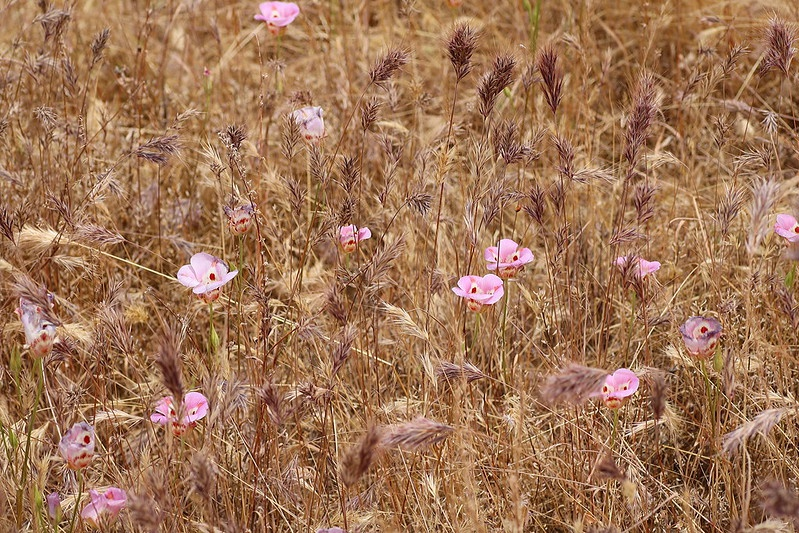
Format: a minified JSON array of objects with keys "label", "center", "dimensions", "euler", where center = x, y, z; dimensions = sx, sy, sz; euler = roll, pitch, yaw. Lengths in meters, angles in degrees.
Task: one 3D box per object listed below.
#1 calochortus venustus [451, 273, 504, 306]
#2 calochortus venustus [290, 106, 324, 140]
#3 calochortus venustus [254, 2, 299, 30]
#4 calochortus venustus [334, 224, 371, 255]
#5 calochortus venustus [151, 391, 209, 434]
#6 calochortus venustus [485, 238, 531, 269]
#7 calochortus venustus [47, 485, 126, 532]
[{"label":"calochortus venustus","center":[0.340,0.090,3.595],"dimensions":[0.209,0.147,0.217],"euler":[-1,52,3]},{"label":"calochortus venustus","center":[-0.424,-0.683,3.838],"dimensions":[0.122,0.160,0.152],"euler":[-14,51,-8]},{"label":"calochortus venustus","center":[-0.668,-1.414,4.574],"dimensions":[0.219,0.164,0.252],"euler":[0,4,12]},{"label":"calochortus venustus","center":[-0.203,-0.150,3.798],"dimensions":[0.114,0.083,0.133],"euler":[22,37,17]},{"label":"calochortus venustus","center":[-0.921,0.610,3.393],"dimensions":[0.187,0.107,0.200],"euler":[14,39,37]},{"label":"calochortus venustus","center":[0.489,-0.058,3.714],"dimensions":[0.135,0.086,0.165],"euler":[-5,28,10]},{"label":"calochortus venustus","center":[-1.286,0.939,3.375],"dimensions":[0.224,0.133,0.213],"euler":[5,15,42]}]
